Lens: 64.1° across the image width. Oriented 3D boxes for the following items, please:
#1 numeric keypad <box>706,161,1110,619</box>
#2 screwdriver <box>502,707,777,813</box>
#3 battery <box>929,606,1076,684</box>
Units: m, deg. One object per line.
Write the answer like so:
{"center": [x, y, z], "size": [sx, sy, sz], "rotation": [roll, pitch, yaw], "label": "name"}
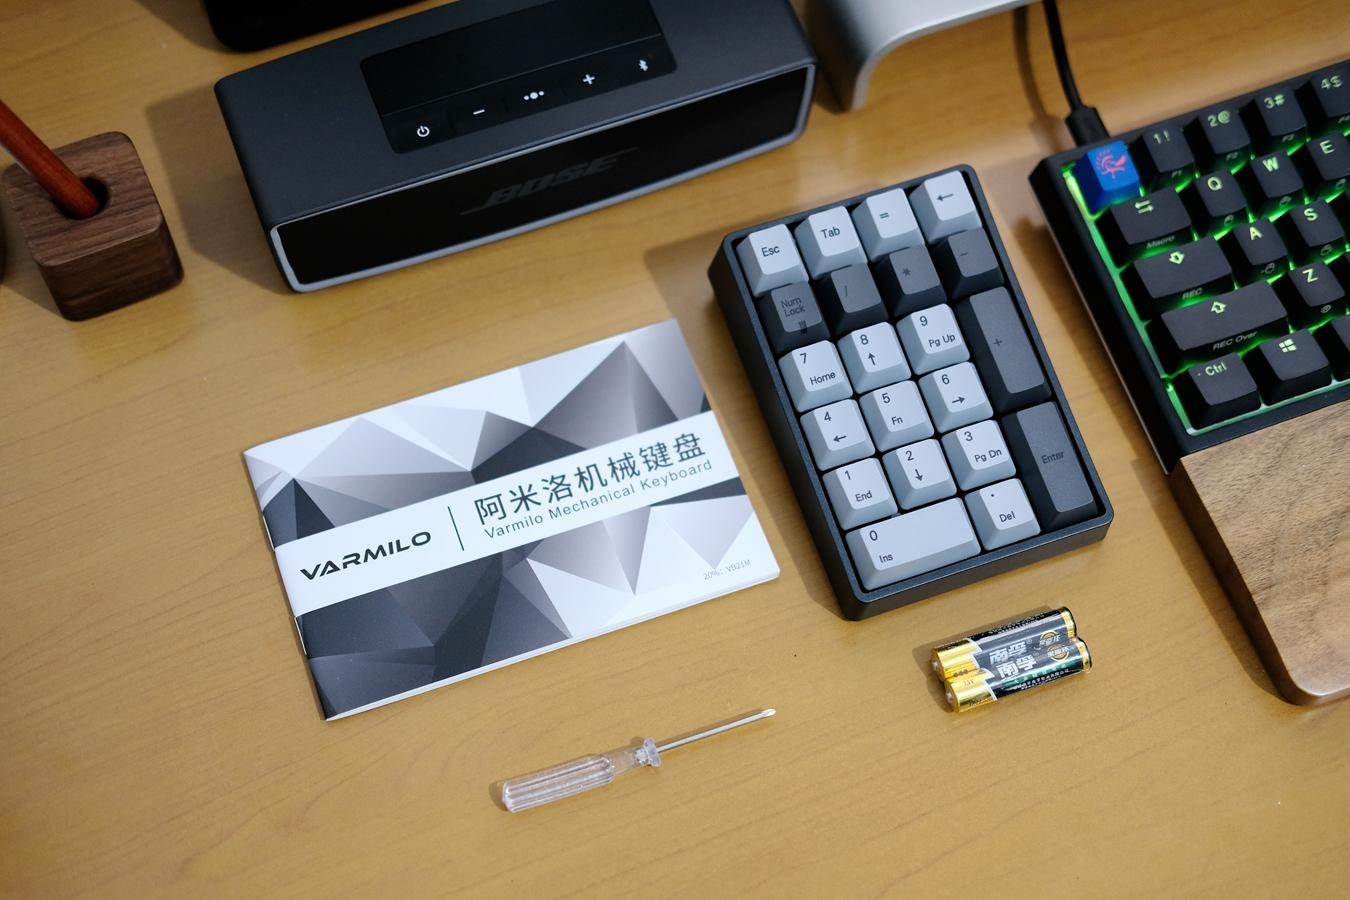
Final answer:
{"center": [0.163, -0.046, 0.790], "size": [0.245, 0.324, 0.078], "rotation": [-19, -7, -6], "label": "numeric keypad"}
{"center": [-0.025, 0.211, 0.740], "size": [0.200, 0.027, 0.020], "rotation": [-13, 37, -8], "label": "screwdriver"}
{"center": [0.231, 0.135, 0.757], "size": [0.134, 0.027, 0.039], "rotation": [-16, 58, -7], "label": "battery"}
